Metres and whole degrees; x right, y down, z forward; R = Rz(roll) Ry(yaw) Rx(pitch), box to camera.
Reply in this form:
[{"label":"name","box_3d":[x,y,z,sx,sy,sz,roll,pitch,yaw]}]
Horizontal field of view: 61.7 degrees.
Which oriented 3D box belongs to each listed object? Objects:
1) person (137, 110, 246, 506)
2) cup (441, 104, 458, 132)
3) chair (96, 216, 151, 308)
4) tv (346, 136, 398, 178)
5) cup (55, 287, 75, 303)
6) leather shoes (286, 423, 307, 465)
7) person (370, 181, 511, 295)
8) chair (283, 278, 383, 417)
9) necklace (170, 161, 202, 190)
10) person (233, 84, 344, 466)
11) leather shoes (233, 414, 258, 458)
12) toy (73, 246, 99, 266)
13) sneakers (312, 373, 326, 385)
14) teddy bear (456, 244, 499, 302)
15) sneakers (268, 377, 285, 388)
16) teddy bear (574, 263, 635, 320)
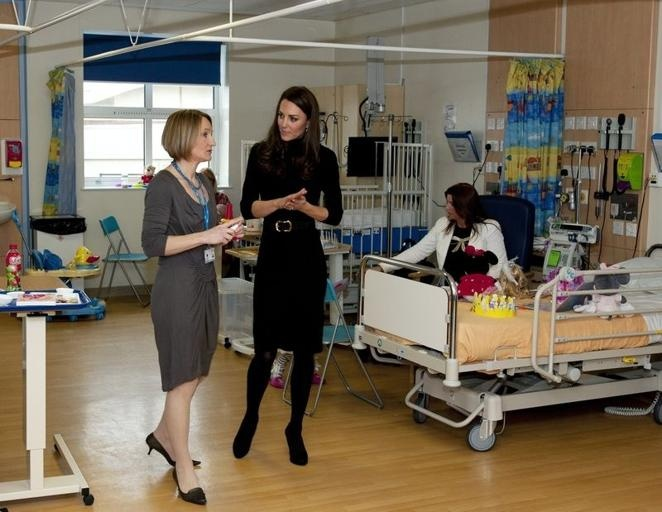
[{"label":"person","box_3d":[-0.694,0.256,2.752,0.447,1.960,0.497,-1,6,-16]},{"label":"cup","box_3d":[1.530,-1.784,7.069,0.153,0.338,0.094,7,8,44]},{"label":"chair","box_3d":[-2.807,0.040,7.545,0.732,1.056,0.724,9,11,28]},{"label":"tv","box_3d":[0.564,-1.322,7.348,0.681,0.528,0.059,1,2,2]},{"label":"cup","box_3d":[-1.304,0.195,2.709,0.092,0.073,0.095,2,-5,0]},{"label":"leather shoes","box_3d":[-0.215,1.066,3.207,0.100,0.192,0.276,-3,19,-19]},{"label":"person","box_3d":[0.949,-0.111,4.435,0.791,1.345,0.913,0,0,-30]},{"label":"chair","box_3d":[0.119,0.680,4.608,0.698,1.030,0.703,0,3,-43]},{"label":"necklace","box_3d":[-0.705,-0.389,2.701,0.038,0.153,0.117,-38,12,16]},{"label":"person","box_3d":[-0.231,0.144,3.036,0.612,2.141,0.455,0,6,-11]},{"label":"leather shoes","box_3d":[-0.478,1.016,3.211,0.140,0.305,0.081,17,21,1]},{"label":"toy","box_3d":[-3.080,0.023,7.054,0.332,0.248,0.244,-3,15,-6]},{"label":"sneakers","box_3d":[-0.088,0.993,4.450,0.067,0.080,0.183,-1,-3,-21]},{"label":"teddy bear","box_3d":[1.045,0.140,3.866,0.351,0.125,0.350,-27,41,-22]},{"label":"sneakers","box_3d":[-0.422,1.025,4.448,0.063,0.051,0.121,1,-1,-34]},{"label":"teddy bear","box_3d":[1.763,0.229,3.593,0.351,0.347,0.178,-1,9,9]}]
